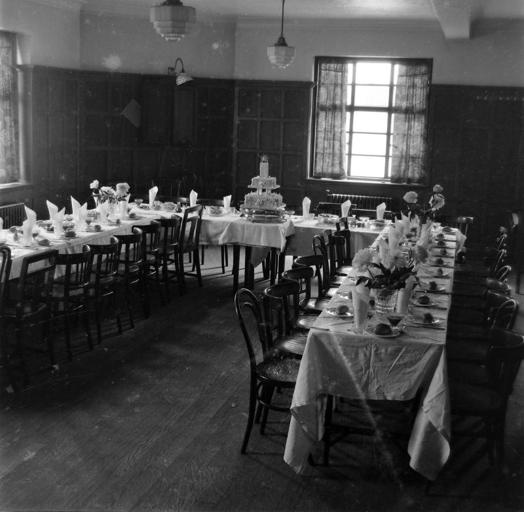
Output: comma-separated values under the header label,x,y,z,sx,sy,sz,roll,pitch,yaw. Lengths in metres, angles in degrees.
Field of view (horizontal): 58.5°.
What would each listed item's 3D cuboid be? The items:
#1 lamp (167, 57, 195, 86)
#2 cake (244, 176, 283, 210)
label,x,y,z,sx,sy,sz,roll,pitch,yaw
lamp,-1.659,-3.805,9.563,0.506,0.667,0.811,-1,9,-9
cake,0.028,-0.891,6.782,0.662,0.573,0.709,0,13,9
